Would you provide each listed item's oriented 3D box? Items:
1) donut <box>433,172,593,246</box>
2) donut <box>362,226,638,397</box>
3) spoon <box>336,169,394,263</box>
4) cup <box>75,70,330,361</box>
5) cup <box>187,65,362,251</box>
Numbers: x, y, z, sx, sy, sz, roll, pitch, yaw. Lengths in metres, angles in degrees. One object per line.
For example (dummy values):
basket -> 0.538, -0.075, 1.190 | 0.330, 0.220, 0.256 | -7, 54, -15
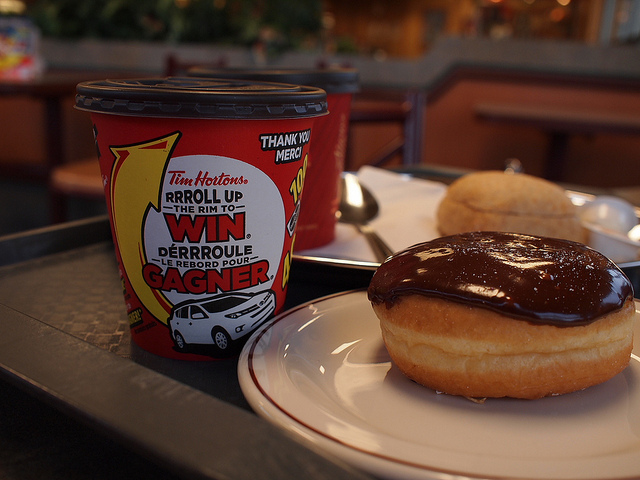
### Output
donut -> 0.171, -0.012, 0.541 | 0.104, 0.051, 0.084 | 6, 3, -21
donut -> 0.110, 0.026, 0.348 | 0.112, 0.057, 0.112 | 1, 6, 14
spoon -> 0.047, -0.021, 0.660 | 0.042, 0.022, 0.179 | -8, -13, 4
cup -> -0.079, -0.021, 0.417 | 0.176, 0.175, 0.176 | 3, 9, 0
cup -> -0.025, -0.069, 0.502 | 0.159, 0.161, 0.160 | 1, 8, 0
